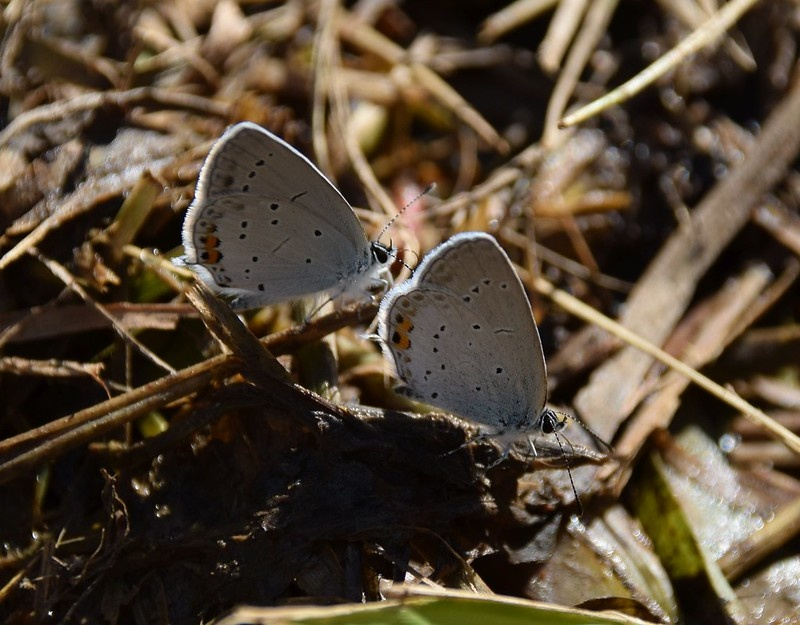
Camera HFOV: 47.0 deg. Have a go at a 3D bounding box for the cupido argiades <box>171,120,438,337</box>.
[{"bbox_3d":[-0.380,-0.278,2.973,0.706,0.659,0.232,-12,39,-13],"label":"cupido argiades"}]
